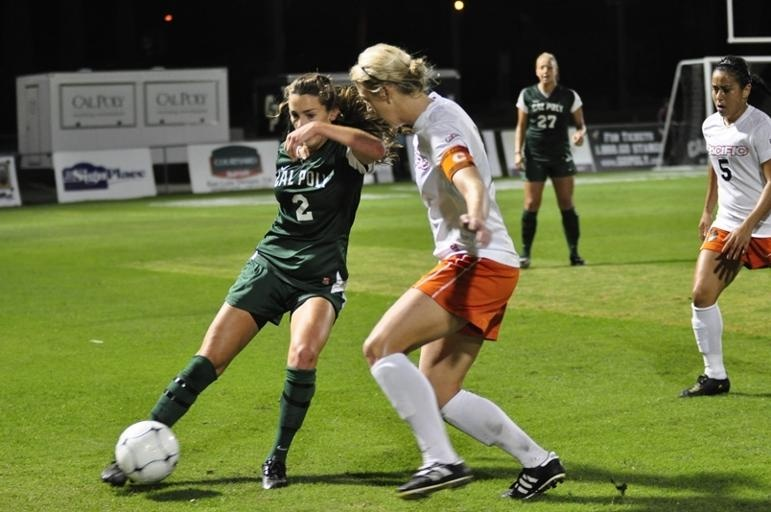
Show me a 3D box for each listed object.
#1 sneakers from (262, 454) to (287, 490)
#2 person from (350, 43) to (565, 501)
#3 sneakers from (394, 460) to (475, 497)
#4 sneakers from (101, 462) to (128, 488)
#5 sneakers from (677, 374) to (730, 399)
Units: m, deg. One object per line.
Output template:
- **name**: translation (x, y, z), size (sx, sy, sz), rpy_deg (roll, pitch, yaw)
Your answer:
- **sneakers**: translation (-0.595, 1.148, 4.656), size (0.137, 0.153, 0.174), rpy_deg (-1, 13, -8)
- **person**: translation (0.328, 0.126, 4.310), size (1.111, 2.298, 0.841), rpy_deg (4, 14, 15)
- **sneakers**: translation (0.250, 1.067, 4.215), size (0.413, 0.151, 0.137), rpy_deg (-8, -27, -14)
- **sneakers**: translation (-1.447, 1.182, 4.642), size (0.149, 0.099, 0.053), rpy_deg (11, -19, 29)
- **sneakers**: translation (2.121, 0.873, 5.775), size (0.386, 0.134, 0.127), rpy_deg (-3, -3, -2)
